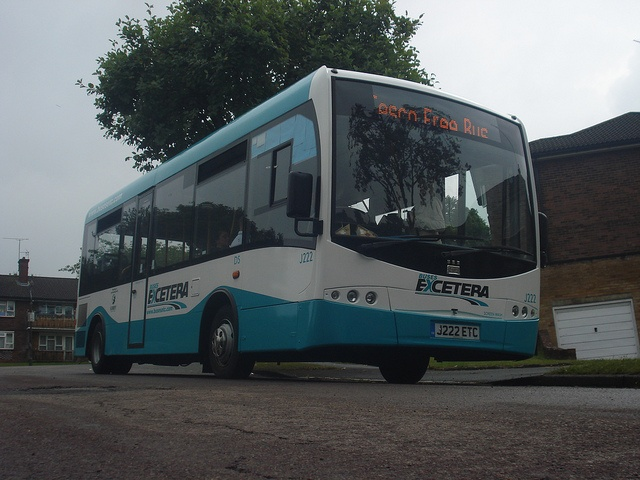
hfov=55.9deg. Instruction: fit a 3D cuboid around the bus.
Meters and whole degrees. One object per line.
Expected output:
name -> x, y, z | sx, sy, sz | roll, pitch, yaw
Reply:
bus -> -2.096, 0.396, 11.292 | 11.451, 4.372, 3.754 | -13, -15, 37
